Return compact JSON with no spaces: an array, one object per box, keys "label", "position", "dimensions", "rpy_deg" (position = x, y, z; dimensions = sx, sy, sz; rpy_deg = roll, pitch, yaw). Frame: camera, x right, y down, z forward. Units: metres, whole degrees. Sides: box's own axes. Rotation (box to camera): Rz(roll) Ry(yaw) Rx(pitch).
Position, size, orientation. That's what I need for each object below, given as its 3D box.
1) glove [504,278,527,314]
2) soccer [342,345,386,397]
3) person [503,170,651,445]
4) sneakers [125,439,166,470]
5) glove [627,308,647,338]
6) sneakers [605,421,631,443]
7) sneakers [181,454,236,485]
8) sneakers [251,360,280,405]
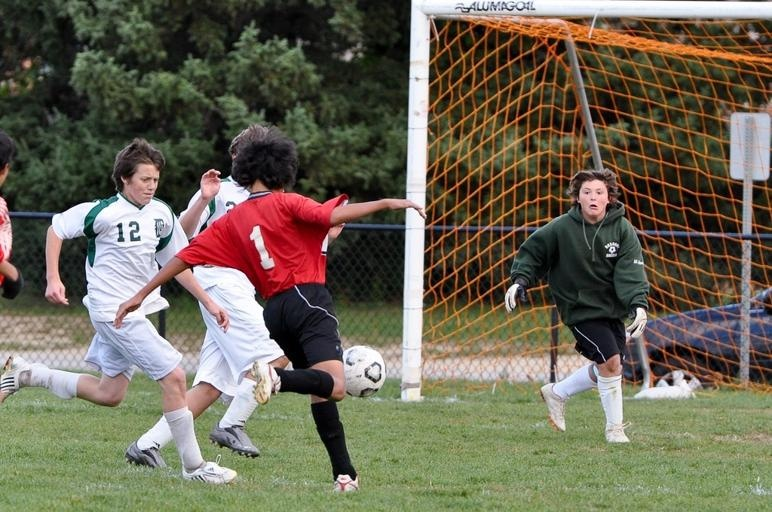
[{"label":"glove","position":[1.349,0.368,9.286],"dimensions":[0.143,0.269,0.369],"rpy_deg":[23,36,-1]},{"label":"soccer","position":[-0.118,0.955,8.167],"dimensions":[0.404,0.418,0.413],"rpy_deg":[-13,13,9]},{"label":"person","position":[1.980,0.469,9.260],"dimensions":[1.222,2.714,0.474],"rpy_deg":[0,-4,16]},{"label":"sneakers","position":[-2.154,1.794,8.378],"dimensions":[0.434,0.209,0.159],"rpy_deg":[20,11,-11]},{"label":"glove","position":[2.512,0.656,9.272],"dimensions":[0.171,0.295,0.617],"rpy_deg":[0,-4,15]},{"label":"sneakers","position":[2.312,1.747,9.263],"dimensions":[0.232,0.186,0.451],"rpy_deg":[0,-4,13]},{"label":"sneakers","position":[-1.526,1.838,7.961],"dimensions":[0.351,0.156,0.196],"rpy_deg":[-1,1,3]},{"label":"sneakers","position":[-0.977,1.039,7.659],"dimensions":[0.211,0.345,0.136],"rpy_deg":[-4,-4,7]}]
